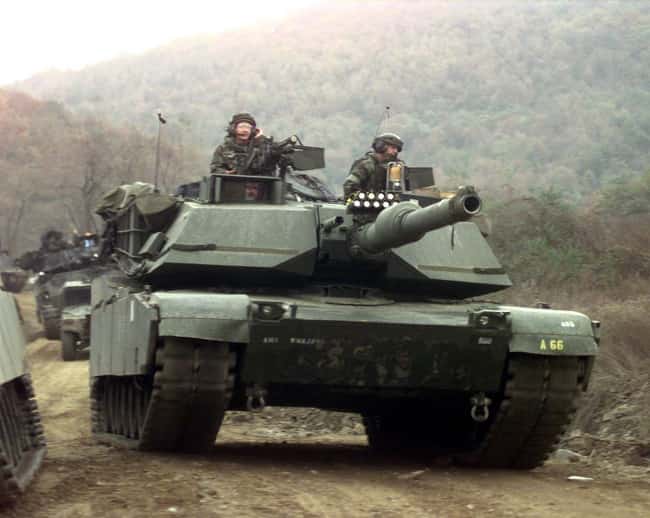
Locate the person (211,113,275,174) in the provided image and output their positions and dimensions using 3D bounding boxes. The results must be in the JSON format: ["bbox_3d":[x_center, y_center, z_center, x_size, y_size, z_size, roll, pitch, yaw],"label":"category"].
[{"bbox_3d":[-1.138,-1.757,12.255,0.633,0.418,0.846,-1,39,-27],"label":"person"}]

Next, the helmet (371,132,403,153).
[{"bbox_3d":[0.929,-1.755,11.885,0.442,0.349,0.372,4,-4,-9],"label":"helmet"}]

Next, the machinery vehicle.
[{"bbox_3d":[-0.319,0.672,9.704,6.587,3.727,4.737,2,-4,16],"label":"machinery vehicle"}]

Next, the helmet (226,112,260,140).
[{"bbox_3d":[-1.282,-2.032,12.412,0.438,0.389,0.465,2,-27,-8],"label":"helmet"}]

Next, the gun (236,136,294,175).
[{"bbox_3d":[-0.830,-1.525,11.840,0.425,0.324,0.832,5,-17,-31],"label":"gun"}]

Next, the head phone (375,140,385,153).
[{"bbox_3d":[0.812,-1.683,11.809,0.144,0.177,0.174,11,6,26],"label":"head phone"}]
